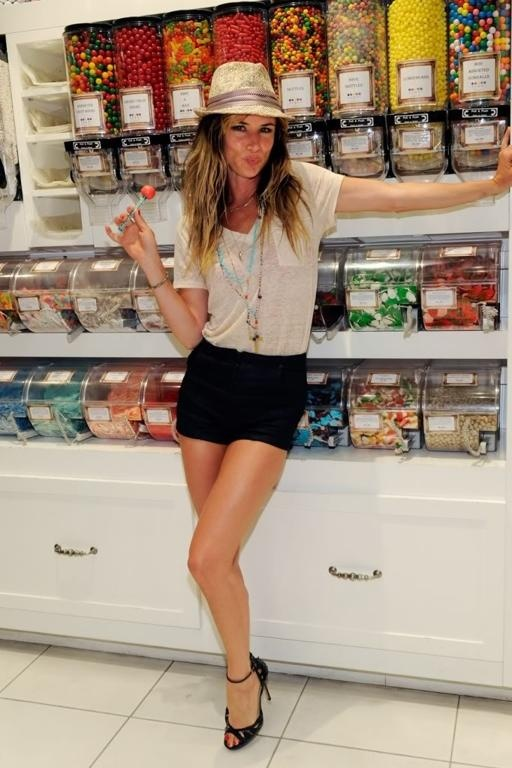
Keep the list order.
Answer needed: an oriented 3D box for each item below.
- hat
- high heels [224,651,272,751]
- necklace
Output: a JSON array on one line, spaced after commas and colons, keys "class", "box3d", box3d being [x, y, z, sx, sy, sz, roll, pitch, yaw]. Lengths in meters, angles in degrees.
[{"class": "hat", "box3d": [-0.033, -0.610, 1.186, 0.165, 0.092, 0.168, -1, 7, -9]}, {"class": "high heels", "box3d": [-0.025, 0.834, 1.518, 0.084, 0.139, 0.255, -22, 8, 17]}, {"class": "necklace", "box3d": [-0.027, -0.252, 1.292, 0.085, 0.281, 0.012, -3, 0, 18]}]
